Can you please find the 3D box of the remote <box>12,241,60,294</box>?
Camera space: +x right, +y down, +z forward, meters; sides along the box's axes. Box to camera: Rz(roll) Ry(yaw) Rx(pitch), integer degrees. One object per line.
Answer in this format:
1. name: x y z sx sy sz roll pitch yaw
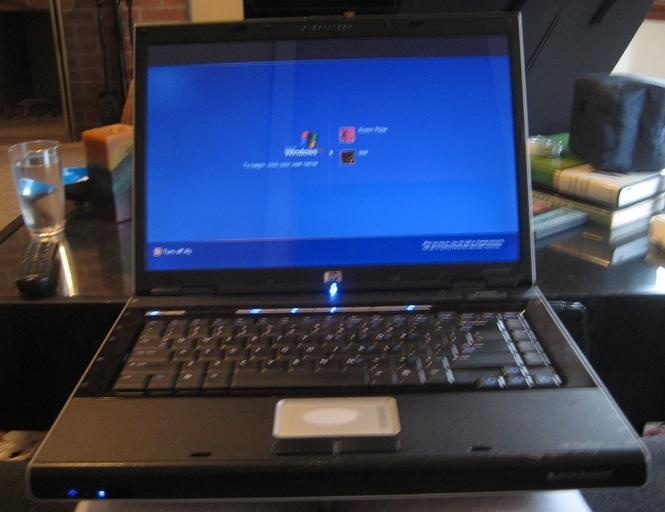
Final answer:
1. remote: -0.494 0.020 0.944 0.049 0.036 0.167 -1 25 -15
